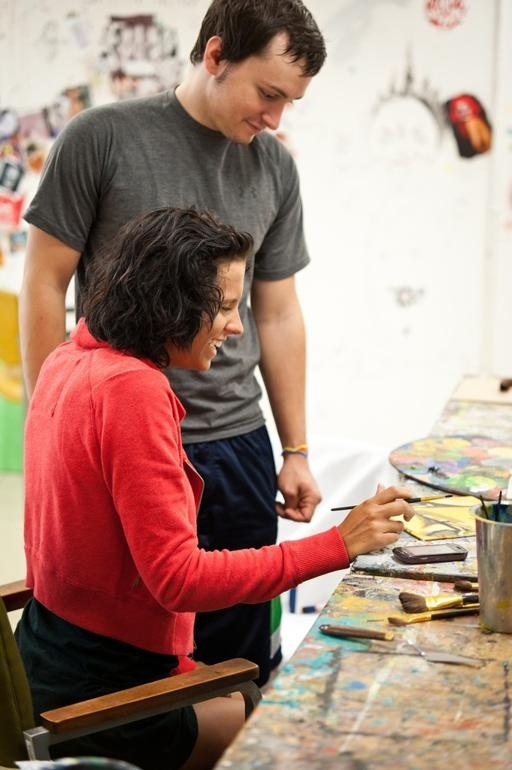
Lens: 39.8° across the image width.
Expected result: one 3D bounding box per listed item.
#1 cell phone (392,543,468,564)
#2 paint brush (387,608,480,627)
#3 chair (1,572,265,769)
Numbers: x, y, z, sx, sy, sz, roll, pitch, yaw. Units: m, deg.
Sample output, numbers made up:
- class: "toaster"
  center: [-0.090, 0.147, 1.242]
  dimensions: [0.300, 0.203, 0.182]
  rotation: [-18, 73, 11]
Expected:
- class: "cell phone"
  center: [0.305, 0.286, 1.235]
  dimensions: [0.085, 0.015, 0.045]
  rotation: [-1, 6, -10]
- class: "paint brush"
  center: [0.256, 0.334, 1.013]
  dimensions: [0.103, 0.008, 0.017]
  rotation: [-4, 18, -27]
- class: "chair"
  center: [-0.180, 0.318, 0.981]
  dimensions: [0.235, 0.125, 0.344]
  rotation: [-13, 18, -38]
